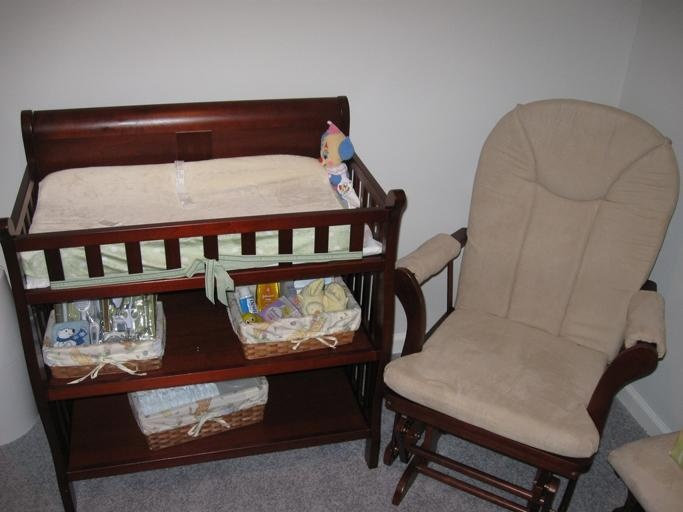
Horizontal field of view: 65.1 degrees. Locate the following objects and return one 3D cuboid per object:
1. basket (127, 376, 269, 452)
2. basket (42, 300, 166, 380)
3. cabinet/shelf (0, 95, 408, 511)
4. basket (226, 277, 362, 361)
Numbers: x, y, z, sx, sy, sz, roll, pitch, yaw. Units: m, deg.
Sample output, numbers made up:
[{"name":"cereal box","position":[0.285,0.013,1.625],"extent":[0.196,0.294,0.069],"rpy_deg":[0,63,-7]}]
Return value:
[{"name":"basket","position":[-0.559,0.617,2.142],"extent":[0.391,0.157,0.290],"rpy_deg":[-13,31,-23]},{"name":"basket","position":[-0.851,0.311,1.937],"extent":[0.392,0.182,0.227],"rpy_deg":[-7,25,-15]},{"name":"cabinet/shelf","position":[-0.548,0.183,2.025],"extent":[1.235,1.316,0.758],"rpy_deg":[-7,39,-11]},{"name":"basket","position":[-0.168,0.267,2.063],"extent":[0.362,0.146,0.309],"rpy_deg":[-8,32,-10]}]
